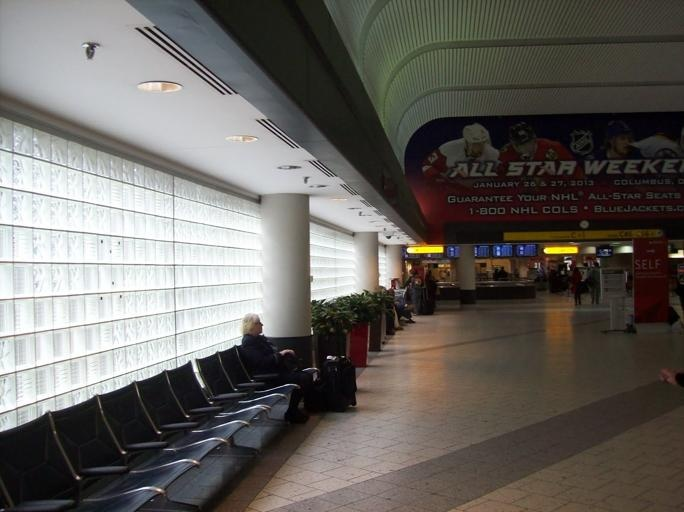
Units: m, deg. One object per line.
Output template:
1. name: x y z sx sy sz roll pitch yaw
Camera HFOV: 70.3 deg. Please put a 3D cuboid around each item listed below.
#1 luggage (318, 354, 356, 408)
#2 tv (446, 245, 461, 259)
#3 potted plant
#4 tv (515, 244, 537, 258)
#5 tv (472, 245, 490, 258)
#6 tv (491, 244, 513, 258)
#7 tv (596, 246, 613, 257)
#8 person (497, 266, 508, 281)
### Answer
1. luggage: -0.074 1.990 7.693 0.465 0.853 0.849 -2 -1 16
2. tv: 6.333 -0.291 27.590 1.040 1.013 0.587 -1 -5 10
3. potted plant: 0.280 1.428 10.802 1.578 1.320 1.862 -1 -3 16
4. tv: 10.770 -0.398 28.469 2.139 0.650 0.764 0 -2 -44
5. tv: 7.974 -0.296 27.555 1.112 0.783 0.600 0 -5 2
6. tv: 9.148 -0.327 27.513 1.248 0.835 0.682 1 -6 -8
7. tv: 14.923 -0.284 27.521 0.778 0.616 1.146 -1 2 31
8. person: 11.695 1.161 35.180 0.677 0.988 2.903 -2 -2 18
